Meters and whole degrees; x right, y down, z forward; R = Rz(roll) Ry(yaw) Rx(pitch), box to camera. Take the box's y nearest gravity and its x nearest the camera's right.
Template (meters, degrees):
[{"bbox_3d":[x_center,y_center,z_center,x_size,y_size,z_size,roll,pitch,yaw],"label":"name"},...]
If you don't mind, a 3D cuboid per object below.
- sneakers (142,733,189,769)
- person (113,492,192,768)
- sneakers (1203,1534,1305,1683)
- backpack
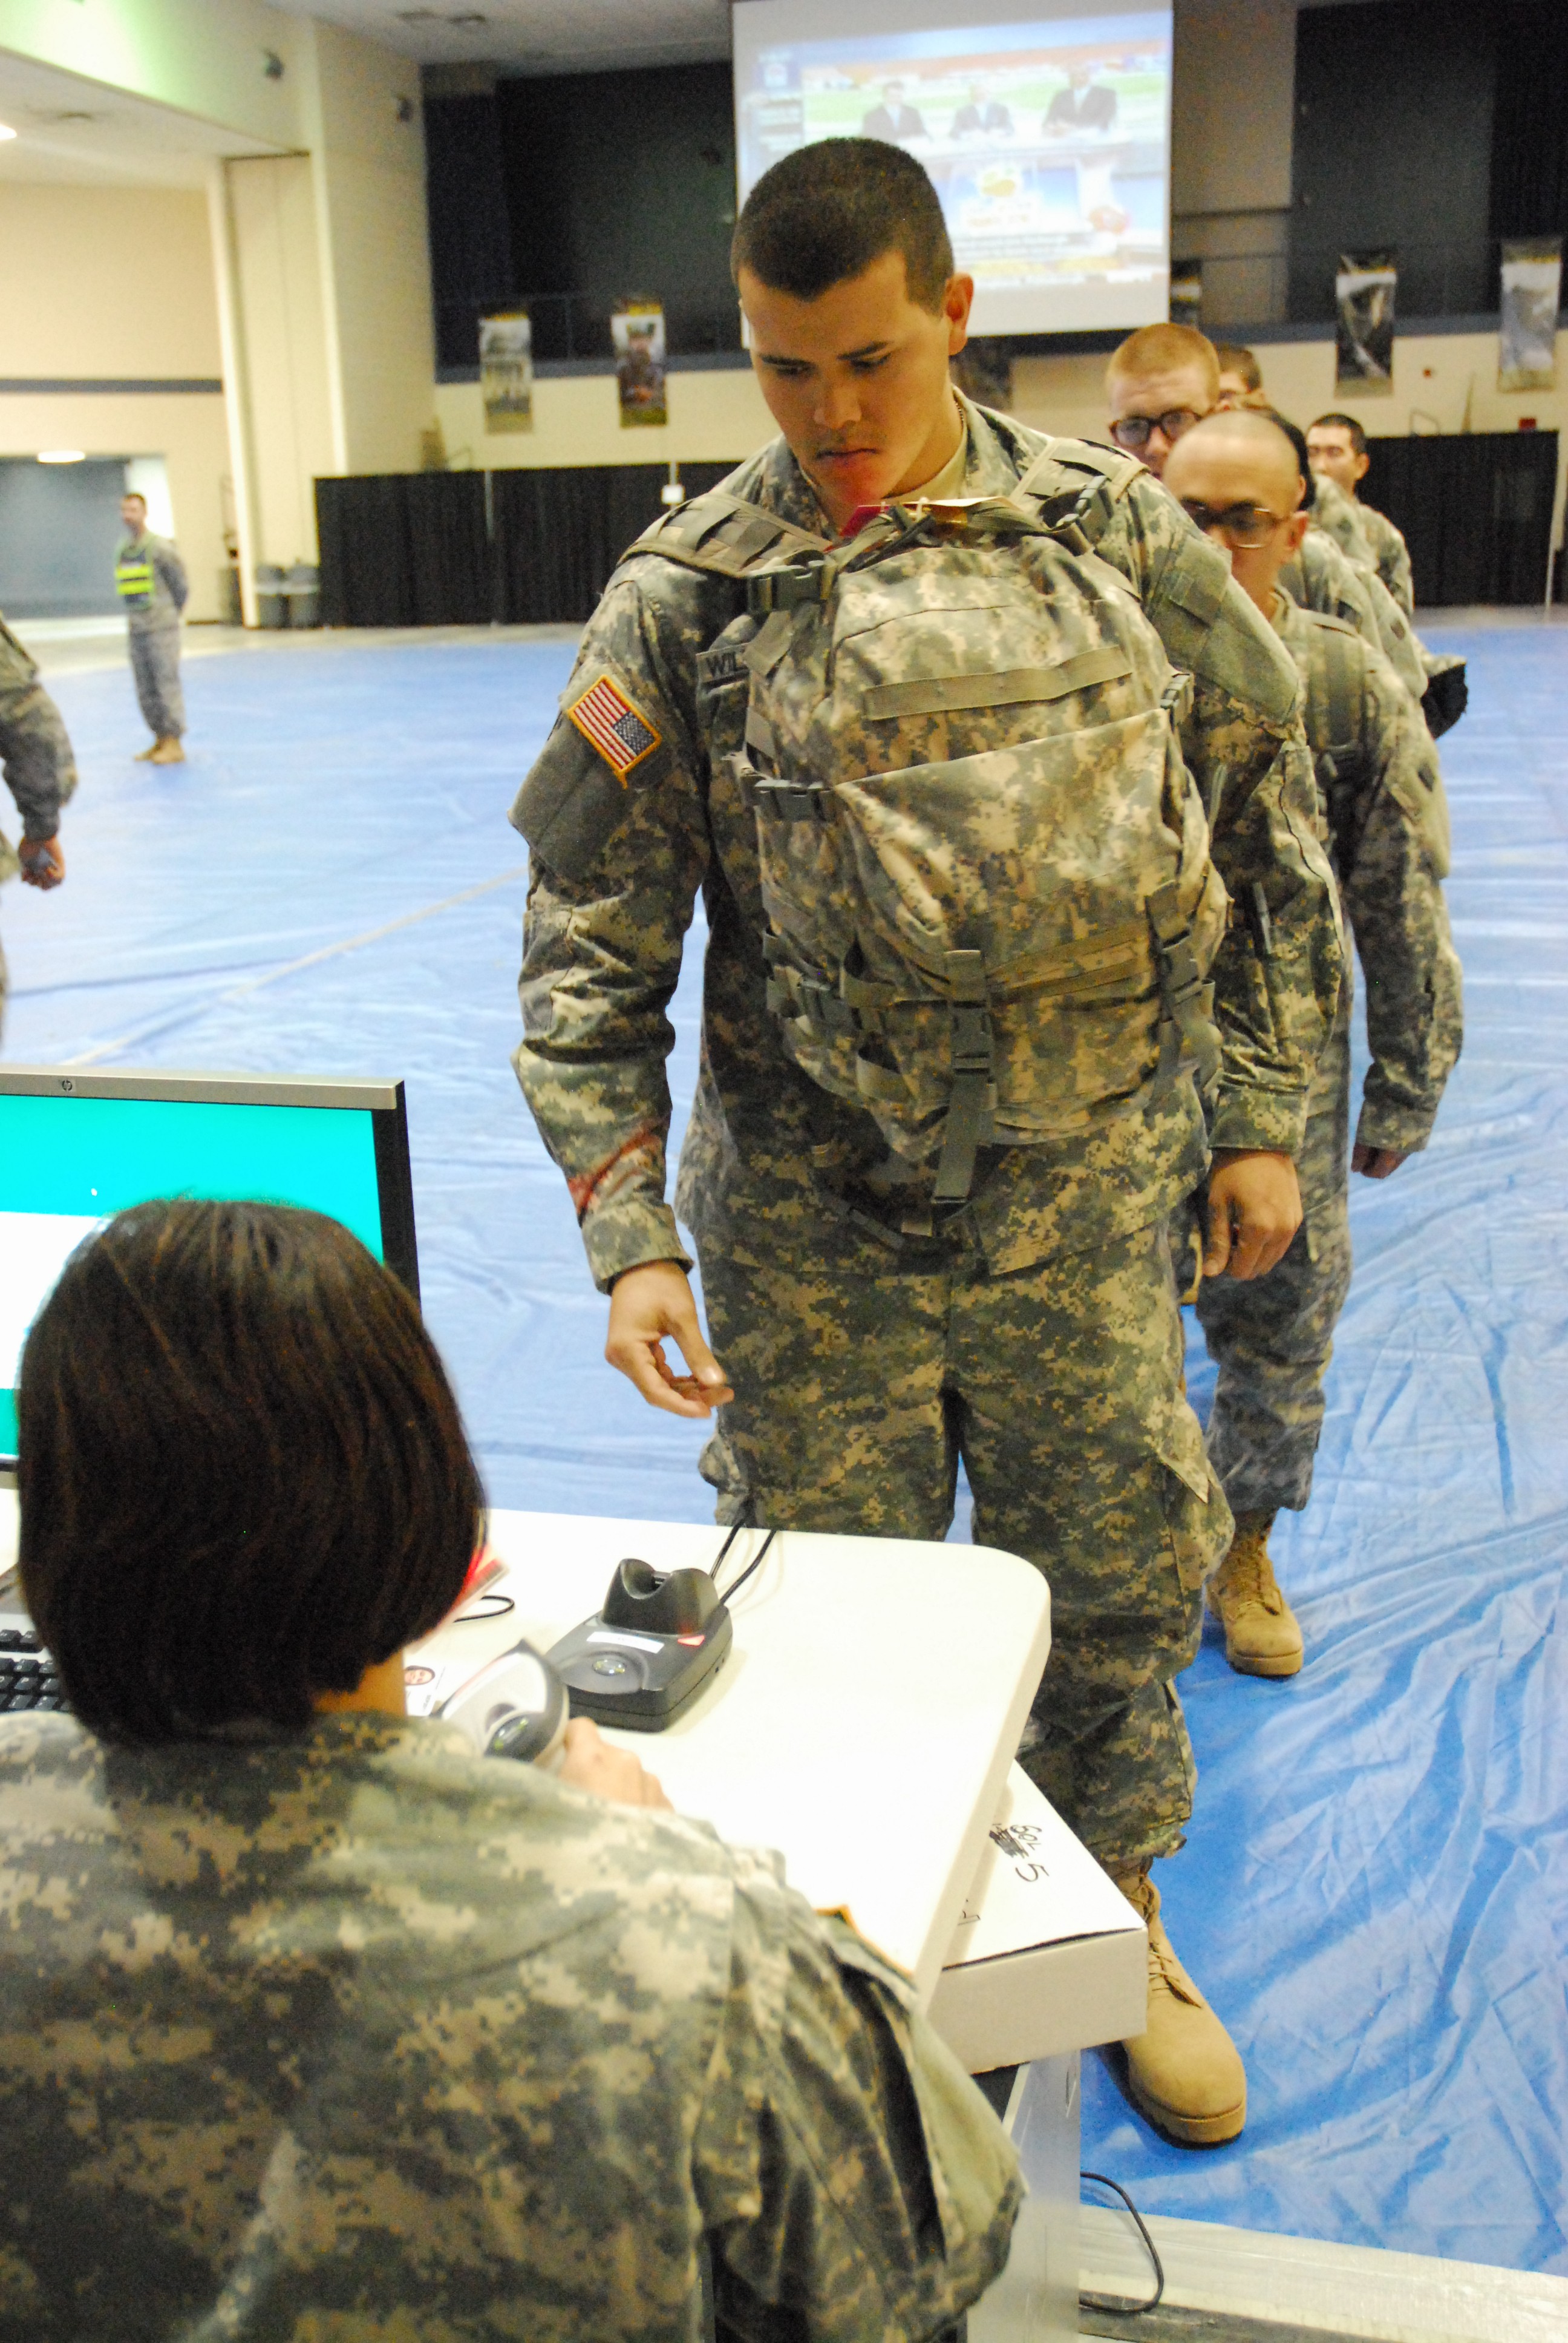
[{"bbox_3d":[-3.606,-2.444,11.003,0.252,0.322,0.179,0,8,-9],"label":"sneakers"},{"bbox_3d":[-3.688,-3.079,11.111,0.359,1.347,1.182,-9,14,-16],"label":"person"},{"bbox_3d":[0.613,0.576,2.440,0.078,0.095,0.230,-7,9,2],"label":"sneakers"},{"bbox_3d":[0.084,-0.284,1.502,0.441,0.536,0.541,-20,51,-7],"label":"backpack"}]
